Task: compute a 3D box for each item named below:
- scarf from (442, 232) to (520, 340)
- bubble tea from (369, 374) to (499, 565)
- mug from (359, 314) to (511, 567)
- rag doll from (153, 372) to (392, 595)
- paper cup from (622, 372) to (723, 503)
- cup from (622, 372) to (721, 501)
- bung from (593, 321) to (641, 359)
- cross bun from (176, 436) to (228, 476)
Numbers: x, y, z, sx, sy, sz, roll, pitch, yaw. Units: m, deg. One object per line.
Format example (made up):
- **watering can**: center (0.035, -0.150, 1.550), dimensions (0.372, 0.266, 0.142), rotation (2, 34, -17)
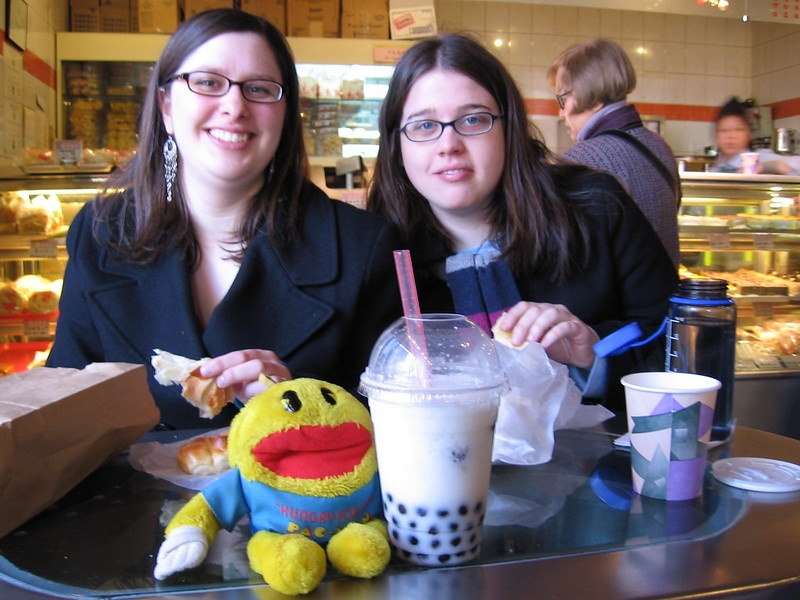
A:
- **scarf**: center (0.240, -0.036, 1.828), dimensions (0.215, 0.276, 0.083), rotation (-21, -1, 3)
- **bubble tea**: center (0.047, 0.246, 0.976), dimensions (0.249, 0.259, 0.221), rotation (-1, -8, -5)
- **mug**: center (0.058, 0.211, 0.977), dimensions (0.245, 0.345, 0.247), rotation (0, -2, -4)
- **rag doll**: center (-0.188, 0.240, 0.905), dimensions (0.401, 0.247, 0.230), rotation (-3, -4, -28)
- **paper cup**: center (0.434, 0.213, 1.032), dimensions (0.193, 0.199, 0.186), rotation (0, -4, 0)
- **cup**: center (0.444, 0.234, 1.091), dimensions (0.186, 0.197, 0.177), rotation (-2, 0, 0)
- **bung**: center (0.412, 0.080, 1.221), dimensions (0.076, 0.027, 0.075), rotation (-25, -18, -13)
- **cross bun**: center (-0.354, 0.274, 1.142), dimensions (0.061, 0.025, 0.080), rotation (1, 7, 8)
